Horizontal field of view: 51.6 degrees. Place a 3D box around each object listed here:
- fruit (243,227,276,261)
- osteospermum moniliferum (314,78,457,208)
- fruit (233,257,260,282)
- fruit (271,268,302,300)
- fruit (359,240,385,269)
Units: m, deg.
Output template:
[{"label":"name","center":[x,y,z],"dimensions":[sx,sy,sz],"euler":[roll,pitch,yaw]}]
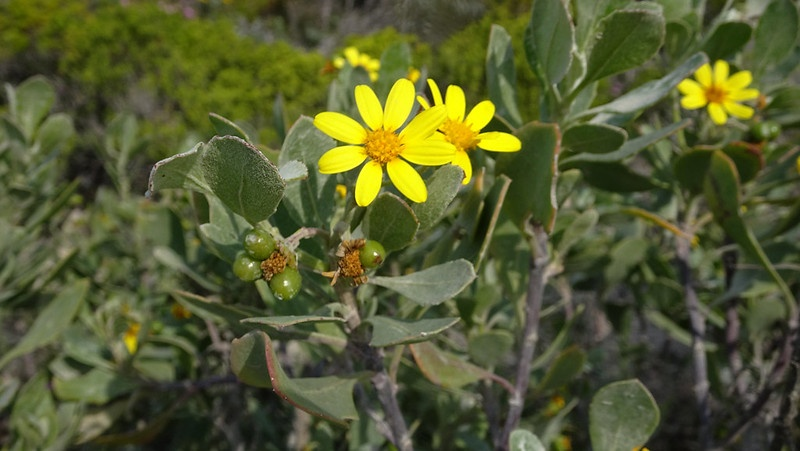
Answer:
[{"label":"fruit","center":[-0.337,0.046,1.979],"dimensions":[0.079,0.061,0.059],"euler":[4,90,31]},{"label":"osteospermum moniliferum","center":[-0.037,-0.182,2.023],"dimensions":[0.303,0.211,0.306],"euler":[-33,56,-22]},{"label":"fruit","center":[-0.372,0.104,1.992],"dimensions":[0.076,0.050,0.043],"euler":[4,51,6]},{"label":"fruit","center":[-0.278,0.151,2.027],"dimensions":[0.063,0.064,0.079],"euler":[6,71,-14]},{"label":"fruit","center":[-0.065,0.075,2.011],"dimensions":[0.058,0.072,0.061],"euler":[0,51,3]}]
